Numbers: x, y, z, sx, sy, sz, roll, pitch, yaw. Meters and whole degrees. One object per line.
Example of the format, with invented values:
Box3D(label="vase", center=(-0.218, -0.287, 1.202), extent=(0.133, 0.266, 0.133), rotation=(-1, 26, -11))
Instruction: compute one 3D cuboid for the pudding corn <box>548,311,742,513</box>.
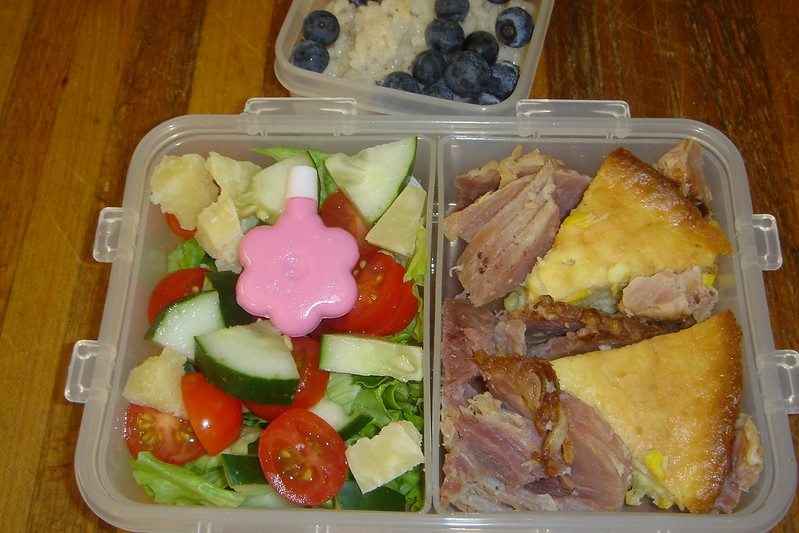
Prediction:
Box3D(label="pudding corn", center=(0.882, 0.526, 2.672), extent=(0.625, 0.062, 0.599), rotation=(-14, 84, -1))

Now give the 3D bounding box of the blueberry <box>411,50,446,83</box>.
Box3D(label="blueberry", center=(0.118, -0.799, 3.249), extent=(0.114, 0.122, 0.151), rotation=(2, 105, 7))

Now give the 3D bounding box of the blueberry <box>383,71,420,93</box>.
Box3D(label="blueberry", center=(0.006, -0.731, 3.221), extent=(0.107, 0.066, 0.100), rotation=(6, 45, -6))
